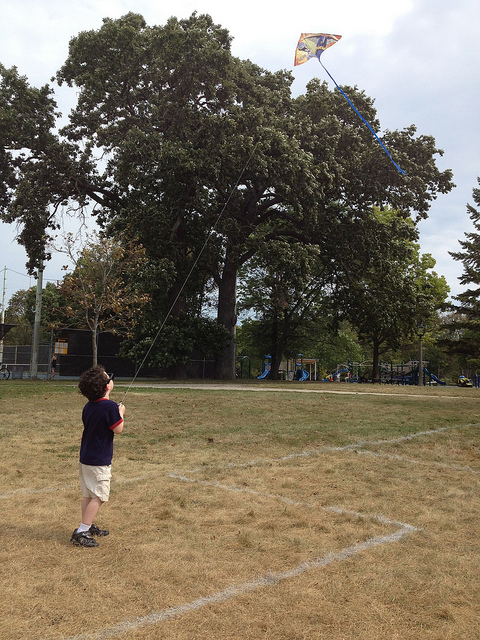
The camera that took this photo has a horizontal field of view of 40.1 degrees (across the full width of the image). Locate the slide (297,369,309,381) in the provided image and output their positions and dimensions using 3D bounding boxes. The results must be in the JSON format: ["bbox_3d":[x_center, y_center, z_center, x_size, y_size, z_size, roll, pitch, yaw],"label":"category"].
[{"bbox_3d":[4.992,4.146,50.864,0.895,1.209,0.485,5,-29,-8],"label":"slide"}]

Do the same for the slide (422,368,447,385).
[{"bbox_3d":[13.973,4.144,47.025,1.093,0.831,8.897,2,-6,21],"label":"slide"}]

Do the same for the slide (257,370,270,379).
[{"bbox_3d":[1.854,4.259,51.440,0.367,0.596,1.253,-21,-3,42],"label":"slide"}]

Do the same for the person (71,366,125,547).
[{"bbox_3d":[-1.113,1.024,5.098,0.305,1.318,0.448,7,-6,-29],"label":"person"}]

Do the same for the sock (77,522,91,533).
[{"bbox_3d":[-1.177,1.555,4.950,0.085,0.068,0.111,5,-6,-12],"label":"sock"}]
